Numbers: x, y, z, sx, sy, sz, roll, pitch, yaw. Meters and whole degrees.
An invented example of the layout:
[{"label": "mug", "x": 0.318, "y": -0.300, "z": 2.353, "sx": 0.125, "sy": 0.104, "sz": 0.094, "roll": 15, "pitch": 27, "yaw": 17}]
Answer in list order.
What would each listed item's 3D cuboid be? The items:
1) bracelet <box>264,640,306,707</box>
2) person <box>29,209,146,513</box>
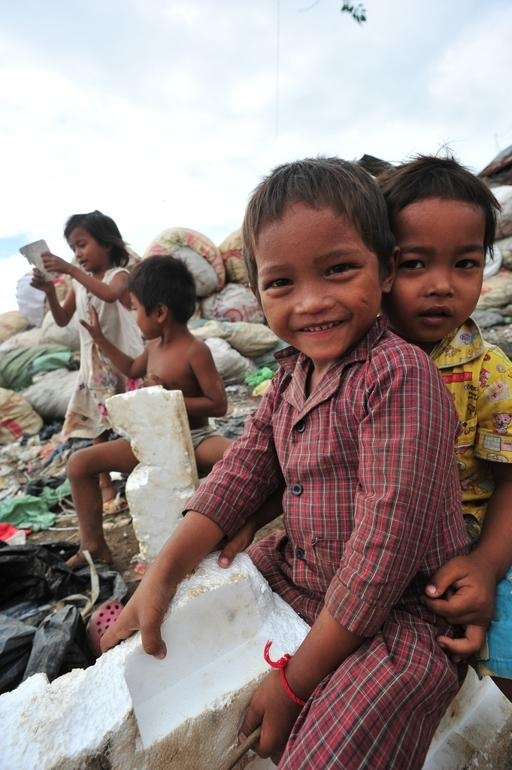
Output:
[{"label": "bracelet", "x": 0.054, "y": 0.597, "z": 1.250, "sx": 0.074, "sy": 0.023, "sz": 0.093, "roll": 25, "pitch": 11, "yaw": -27}, {"label": "person", "x": -0.975, "y": -0.215, "z": 3.592, "sx": 0.792, "sy": 1.735, "sz": 0.704, "roll": 1, "pitch": -15, "yaw": -35}]
